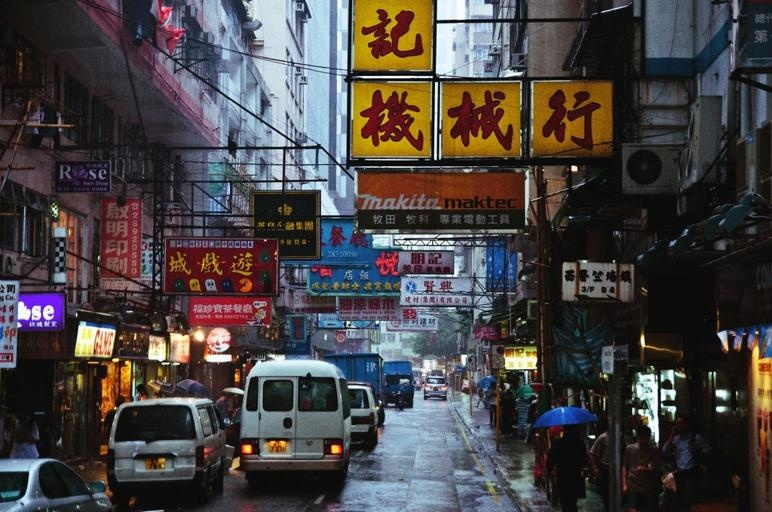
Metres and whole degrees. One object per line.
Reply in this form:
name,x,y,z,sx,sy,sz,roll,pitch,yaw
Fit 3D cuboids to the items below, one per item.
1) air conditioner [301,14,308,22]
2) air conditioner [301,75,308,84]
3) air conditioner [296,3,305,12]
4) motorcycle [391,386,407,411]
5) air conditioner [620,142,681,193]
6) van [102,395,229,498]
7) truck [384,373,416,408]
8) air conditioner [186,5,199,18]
air conditioner,-5.721,-16.842,84.874,0.581,0.624,0.149,-2,11,-24
air conditioner,-5.569,-12.238,83.586,0.628,0.742,0.468,0,2,-14
air conditioner,-5.762,-16.821,81.257,0.380,0.447,0.398,-4,4,-11
motorcycle,0.796,8.297,70.765,0.805,1.595,1.880,-1,-12,0
air conditioner,6.513,-2.107,29.749,1.675,1.669,1.026,0,-4,3
van,-6.948,5.039,31.215,2.692,2.672,6.047,-1,-1,1
truck,0.715,8.044,71.550,1.713,1.749,1.768,2,2,5
air conditioner,-7.658,-9.658,47.115,0.448,0.494,0.320,4,-7,-8
